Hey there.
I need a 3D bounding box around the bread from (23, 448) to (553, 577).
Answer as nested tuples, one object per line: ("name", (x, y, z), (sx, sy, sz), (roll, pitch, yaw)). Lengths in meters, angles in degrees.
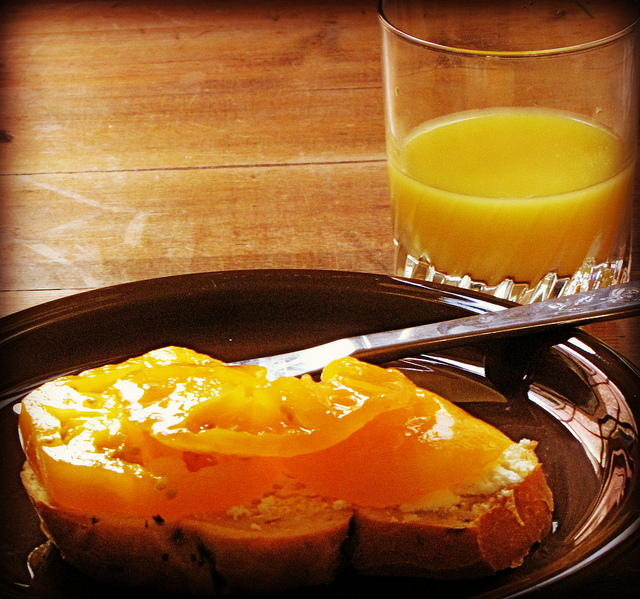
("bread", (-0.008, 0.136, 0.399), (0.314, 0.036, 0.064), (-1, 19, -7))
